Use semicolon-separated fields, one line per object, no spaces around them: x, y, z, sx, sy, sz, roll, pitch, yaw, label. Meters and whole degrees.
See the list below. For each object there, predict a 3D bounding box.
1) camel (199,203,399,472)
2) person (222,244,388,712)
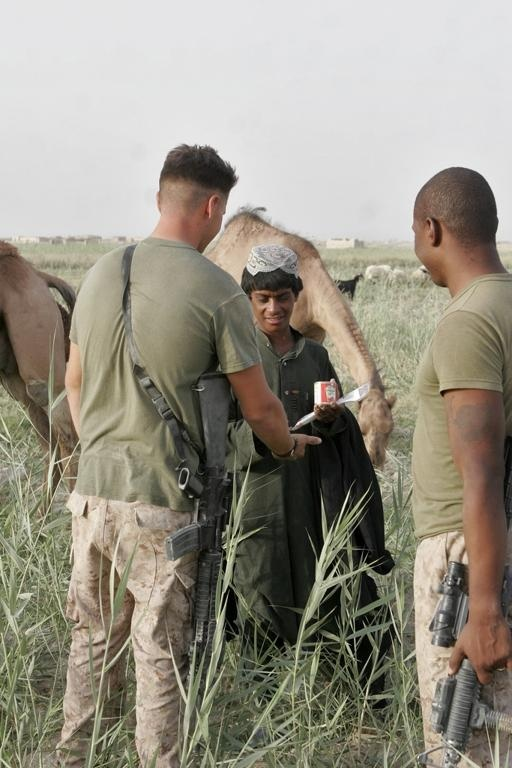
0.362;-0.542;5.343;1.149;2.801;0.792;0;3;-19;camel
0.139;0.289;2.546;0.597;1.483;0.622;2;15;10;person
